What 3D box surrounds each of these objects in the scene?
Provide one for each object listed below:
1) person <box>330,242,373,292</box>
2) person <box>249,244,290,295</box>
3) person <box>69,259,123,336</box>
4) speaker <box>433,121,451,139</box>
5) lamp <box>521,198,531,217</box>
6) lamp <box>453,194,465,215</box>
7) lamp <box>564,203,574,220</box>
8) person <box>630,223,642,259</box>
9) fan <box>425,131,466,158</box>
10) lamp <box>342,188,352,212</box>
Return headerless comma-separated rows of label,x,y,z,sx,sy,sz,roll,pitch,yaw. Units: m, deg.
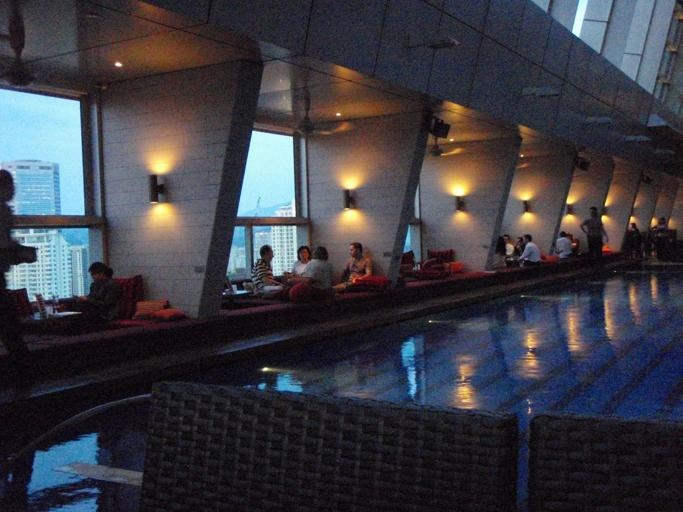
person,0.187,0.235,11.550,1.009,0.809,0.917,-7,8,28
person,-1.246,0.258,9.932,0.998,0.737,0.732,9,7,-6
person,-3.213,0.509,7.146,0.506,0.935,0.929,-9,1,10
speaker,2.038,-2.643,11.617,0.337,0.351,0.546,-7,1,3
lamp,6.454,-1.679,19.459,0.374,0.501,0.092,-7,3,36
lamp,3.377,-1.444,15.796,0.341,0.466,0.096,-8,2,12
lamp,9.307,-1.816,22.747,0.225,0.505,0.364,-10,2,-35
person,13.228,-0.701,25.179,0.525,1.416,1.228,-9,0,27
fan,2.662,-2.803,14.933,1.276,0.812,0.996,-2,1,9
lamp,0.155,-1.211,12.104,0.248,0.426,0.131,-9,1,3
